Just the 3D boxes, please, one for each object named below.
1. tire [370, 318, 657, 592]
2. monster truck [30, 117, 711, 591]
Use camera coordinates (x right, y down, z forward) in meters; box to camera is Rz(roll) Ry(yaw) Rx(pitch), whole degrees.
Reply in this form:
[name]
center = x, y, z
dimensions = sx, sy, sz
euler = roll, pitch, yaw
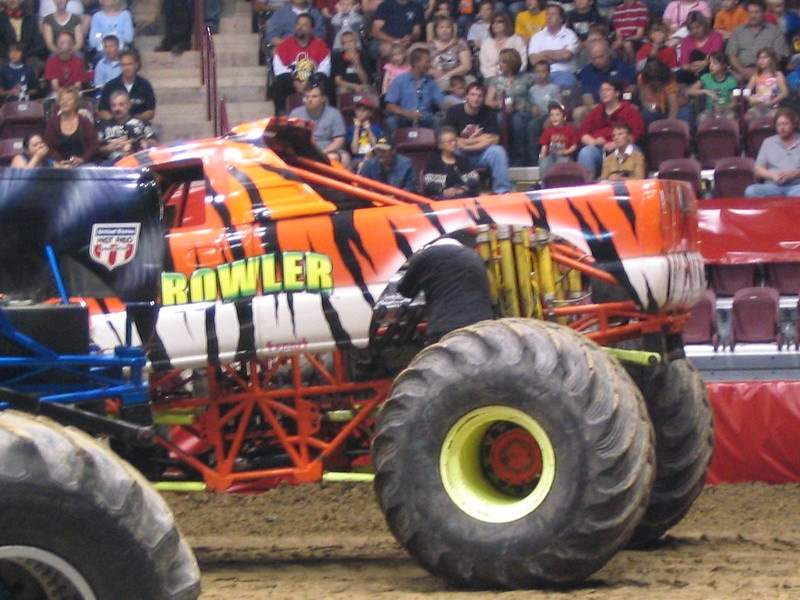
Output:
[tire]
center = 0.982, 1.366, 18.710
dimensions = 2.377, 2.253, 0.908
euler = -1, -3, 14
[monster truck]
center = 0.075, 0.440, 19.679
dimensions = 6.216, 3.154, 3.408
euler = 1, 2, 21
